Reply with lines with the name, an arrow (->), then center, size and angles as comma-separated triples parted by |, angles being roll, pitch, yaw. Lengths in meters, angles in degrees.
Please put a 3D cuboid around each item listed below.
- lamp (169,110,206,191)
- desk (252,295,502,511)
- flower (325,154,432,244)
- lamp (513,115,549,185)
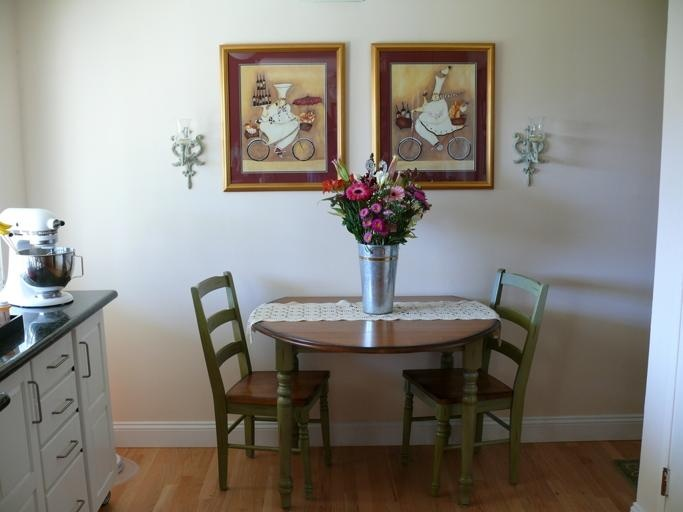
lamp -> -0.902, -0.601, 3.331 | 0.192, 0.399, 0.073 | -3, 14, -12
desk -> 0.107, 0.614, 3.213 | 1.040, 0.814, 1.060 | -1, 2, -1
flower -> 0.207, -0.269, 3.103 | 0.488, 0.522, 0.516 | 1, 3, 19
lamp -> 1.128, -0.613, 3.362 | 0.212, 0.376, 0.070 | -3, 14, -12
